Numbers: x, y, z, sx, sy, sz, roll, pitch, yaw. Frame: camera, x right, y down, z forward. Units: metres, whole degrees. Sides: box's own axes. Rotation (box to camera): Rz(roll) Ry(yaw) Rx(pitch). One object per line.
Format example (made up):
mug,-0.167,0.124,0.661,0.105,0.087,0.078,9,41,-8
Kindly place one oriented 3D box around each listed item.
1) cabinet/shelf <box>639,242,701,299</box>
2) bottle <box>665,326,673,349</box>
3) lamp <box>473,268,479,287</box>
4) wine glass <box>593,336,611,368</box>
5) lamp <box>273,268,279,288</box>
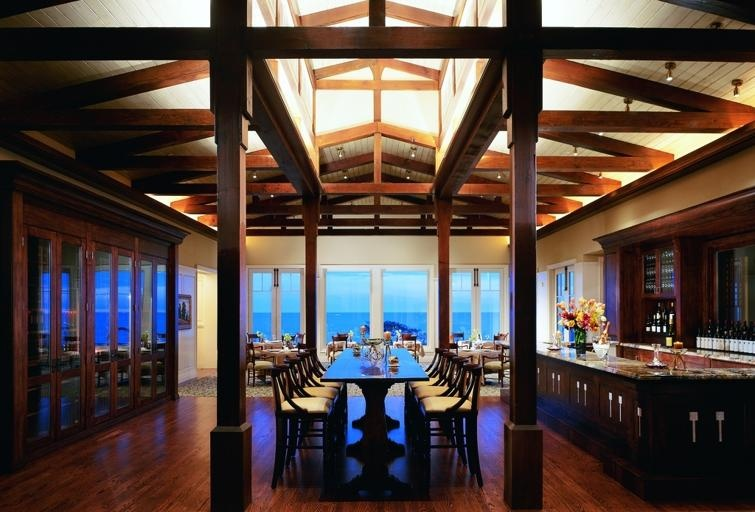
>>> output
cabinet/shelf,4.977,0.243,9.575,0.319,0.851,0.890,2,-5,-2
bottle,4.911,1.344,9.524,0.135,0.369,0.488,2,7,26
lamp,2.873,0.625,16.465,0.170,0.526,0.103,0,6,9
wine glass,3.259,1.387,8.251,0.342,0.383,0.332,-6,-9,38
lamp,-2.910,0.619,16.309,0.161,0.519,0.116,-2,6,-12
